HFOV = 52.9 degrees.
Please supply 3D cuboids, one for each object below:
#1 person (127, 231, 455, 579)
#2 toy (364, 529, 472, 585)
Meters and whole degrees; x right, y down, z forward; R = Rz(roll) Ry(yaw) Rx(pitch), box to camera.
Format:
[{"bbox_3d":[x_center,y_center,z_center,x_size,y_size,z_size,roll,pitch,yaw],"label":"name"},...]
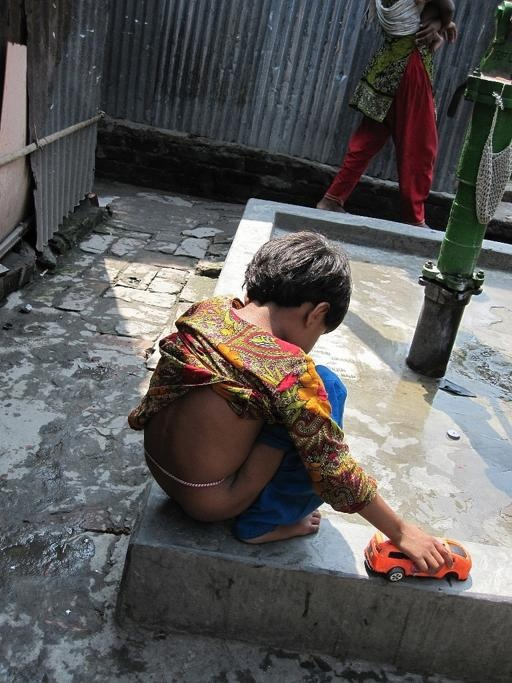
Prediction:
[{"bbox_3d":[0.077,0.161,1.115,0.455,0.684,0.620,-6,34,-36],"label":"person"},{"bbox_3d":[0.380,0.500,1.209,0.212,0.082,0.112,-1,33,-8],"label":"toy"}]
